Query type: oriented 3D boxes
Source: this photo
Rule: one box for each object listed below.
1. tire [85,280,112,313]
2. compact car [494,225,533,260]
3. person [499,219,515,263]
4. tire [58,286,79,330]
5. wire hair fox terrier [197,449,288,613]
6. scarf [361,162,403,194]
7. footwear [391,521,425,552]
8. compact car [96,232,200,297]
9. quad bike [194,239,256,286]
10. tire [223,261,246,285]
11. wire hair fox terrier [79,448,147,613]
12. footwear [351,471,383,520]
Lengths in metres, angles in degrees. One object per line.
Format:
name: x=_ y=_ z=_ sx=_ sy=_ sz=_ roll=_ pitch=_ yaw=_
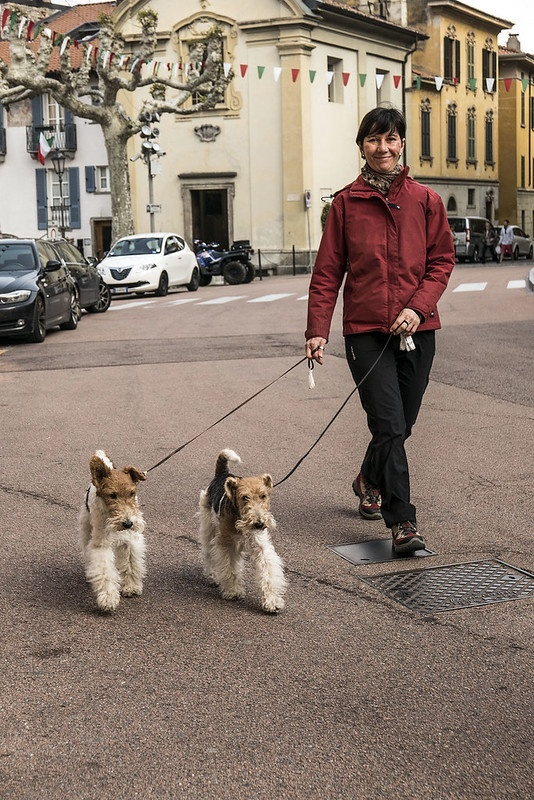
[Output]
tire: x=-4.369 y=-2.617 z=21.425 sx=0.297 sy=0.871 sz=0.803 roll=7 pitch=-6 yaw=32
compact car: x=13.091 y=-8.387 z=44.739 sx=1.615 sy=1.618 sz=3.485 roll=3 pitch=10 yaw=23
person: x=12.470 y=-8.239 z=43.497 sx=0.678 sy=2.024 sz=1.616 roll=2 pitch=5 yaw=15
tire: x=-4.159 y=-1.880 z=17.374 sx=0.219 sy=0.754 sz=0.718 roll=-5 pitch=21 yaw=13
wire hair fox terrier: x=-0.109 y=0.568 z=3.563 sx=0.369 sy=0.634 sz=0.793 roll=0 pitch=5 yaw=-5
scarf: x=0.564 y=-1.092 z=4.181 sx=0.171 sy=0.102 sz=0.150 roll=4 pitch=2 yaw=7
footwear: x=0.714 y=0.703 z=4.222 sx=0.157 sy=0.163 sz=0.167 roll=1 pitch=5 yaw=3
compact car: x=-3.801 y=-4.384 z=27.220 sx=2.152 sy=2.077 sz=4.453 roll=-1 pitch=9 yaw=21
quad bike: x=-1.748 y=-5.101 z=31.504 sx=1.835 sy=2.356 sz=1.840 roll=4 pitch=9 yaw=34
tire: x=-1.215 y=-4.728 z=31.321 sx=0.851 sy=0.831 sz=0.541 roll=0 pitch=5 yaw=-2
wire hair fox terrier: x=-0.697 y=0.502 z=3.736 sx=0.258 sy=0.687 sz=1.023 roll=-4 pitch=6 yaw=-17
footwear: x=0.597 y=0.595 z=4.946 sx=0.111 sy=0.160 sz=0.338 roll=-6 pitch=45 yaw=-9
